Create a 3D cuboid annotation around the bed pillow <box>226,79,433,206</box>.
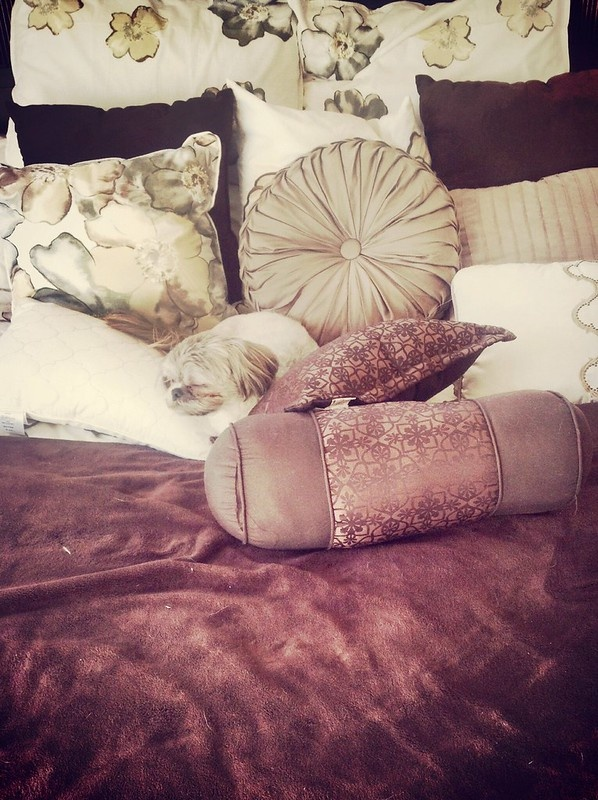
[{"bbox_3d":[0.056,-0.461,1.252,0.275,0.261,0.083,-2,-26,-7],"label":"bed pillow"}]
